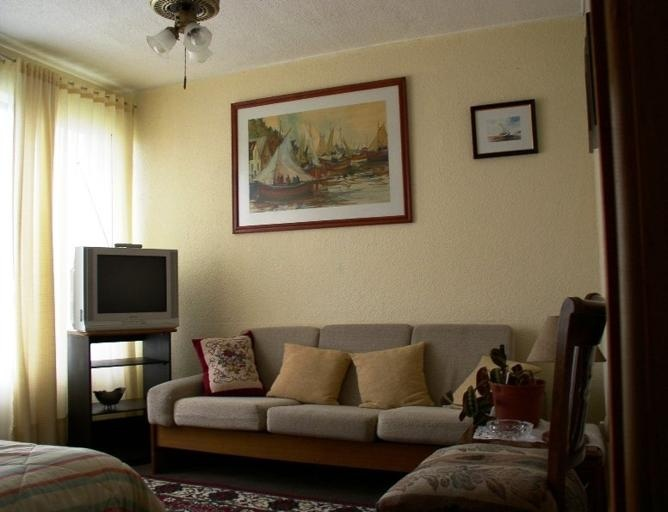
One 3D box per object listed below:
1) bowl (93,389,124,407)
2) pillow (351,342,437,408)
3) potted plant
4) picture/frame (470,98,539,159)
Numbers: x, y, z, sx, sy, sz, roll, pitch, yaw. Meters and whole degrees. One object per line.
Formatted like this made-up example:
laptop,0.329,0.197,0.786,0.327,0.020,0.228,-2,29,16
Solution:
bowl,-1.557,0.984,3.784,0.185,0.142,0.204,-4,1,-24
pillow,0.378,0.723,3.236,0.366,0.284,0.174,-10,-8,6
potted plant,0.482,0.403,1.785,0.355,0.312,0.285,-2,-7,13
picture/frame,1.141,-0.837,3.548,0.450,0.366,0.035,-2,0,21
